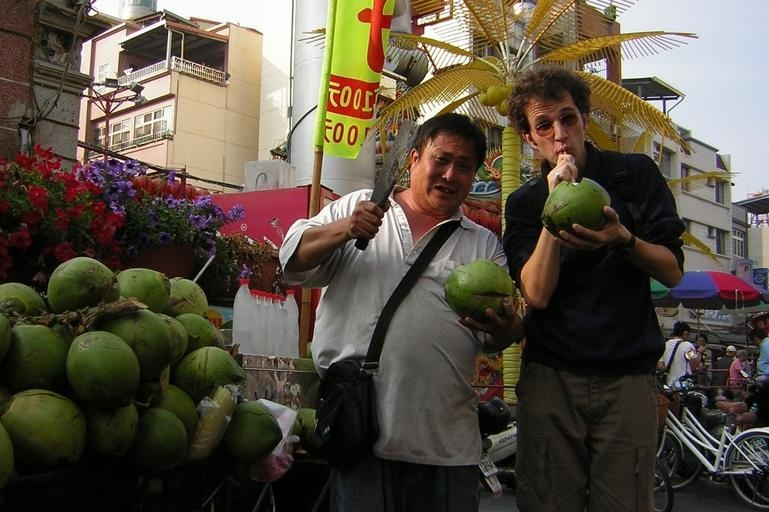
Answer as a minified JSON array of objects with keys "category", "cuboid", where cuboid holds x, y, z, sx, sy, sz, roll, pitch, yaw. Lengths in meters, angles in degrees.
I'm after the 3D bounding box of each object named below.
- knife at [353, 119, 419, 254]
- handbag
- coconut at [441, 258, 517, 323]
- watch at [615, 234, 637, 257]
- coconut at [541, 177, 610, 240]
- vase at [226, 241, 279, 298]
[{"category":"knife","cuboid":[0.024,-0.403,3.473,0.212,0.981,0.103,15,-19,6]},{"category":"handbag","cuboid":[-0.180,0.806,3.261,0.224,0.396,0.313,14,-50,-20]},{"category":"coconut","cuboid":[0.512,0.186,3.381,0.380,0.341,0.160,4,-2,6]},{"category":"watch","cuboid":[1.246,-0.059,3.204,0.088,0.099,0.060,6,-3,-37]},{"category":"coconut","cuboid":[0.979,-0.270,3.263,0.356,0.306,0.271,-21,30,-25]},{"category":"vase","cuboid":[-1.385,0.088,6.727,0.528,0.726,0.356,1,0,-19]}]
